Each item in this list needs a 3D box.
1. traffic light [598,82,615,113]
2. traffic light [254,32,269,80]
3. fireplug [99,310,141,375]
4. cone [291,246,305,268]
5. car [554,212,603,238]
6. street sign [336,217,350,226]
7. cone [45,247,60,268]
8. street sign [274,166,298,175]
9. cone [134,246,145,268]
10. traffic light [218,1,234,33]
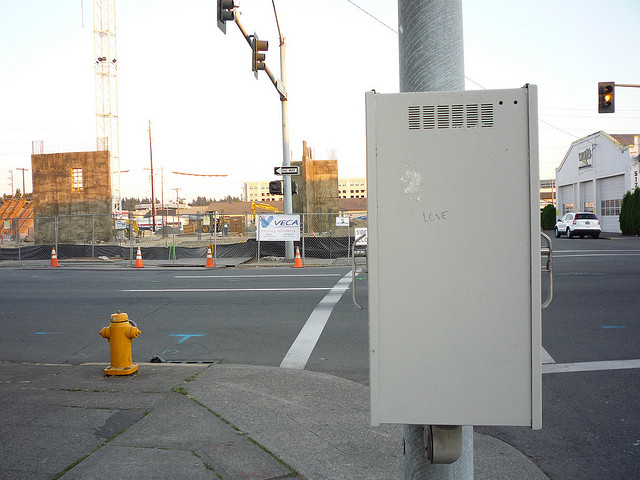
[{"bbox_3d":[9.893,-4.867,21.284,0.557,1.008,0.580,3,17,29],"label":"traffic light"},{"bbox_3d":[-1.466,-4.456,15.266,0.357,1.032,0.360,-4,15,-24],"label":"traffic light"},{"bbox_3d":[-2.682,1.367,8.434,0.522,0.828,0.482,-2,3,7],"label":"fireplug"},{"bbox_3d":[-0.816,0.655,22.061,0.513,0.740,0.537,0,-5,-5],"label":"cone"},{"bbox_3d":[14.256,-0.871,34.635,1.248,1.063,2.813,1,6,7],"label":"car"},{"bbox_3d":[0.977,-0.781,26.768,0.500,0.393,0.875,0,5,-1],"label":"street sign"},{"bbox_3d":[-10.757,0.707,25.273,0.654,0.857,0.692,1,-4,-13],"label":"cone"},{"bbox_3d":[-1.214,-2.525,22.697,0.855,0.298,0.549,0,5,4],"label":"street sign"},{"bbox_3d":[-7.447,0.704,25.748,0.580,0.906,0.636,0,-7,-3],"label":"cone"},{"bbox_3d":[-1.883,-4.490,12.428,0.313,0.623,0.931,0,5,0],"label":"traffic light"}]
